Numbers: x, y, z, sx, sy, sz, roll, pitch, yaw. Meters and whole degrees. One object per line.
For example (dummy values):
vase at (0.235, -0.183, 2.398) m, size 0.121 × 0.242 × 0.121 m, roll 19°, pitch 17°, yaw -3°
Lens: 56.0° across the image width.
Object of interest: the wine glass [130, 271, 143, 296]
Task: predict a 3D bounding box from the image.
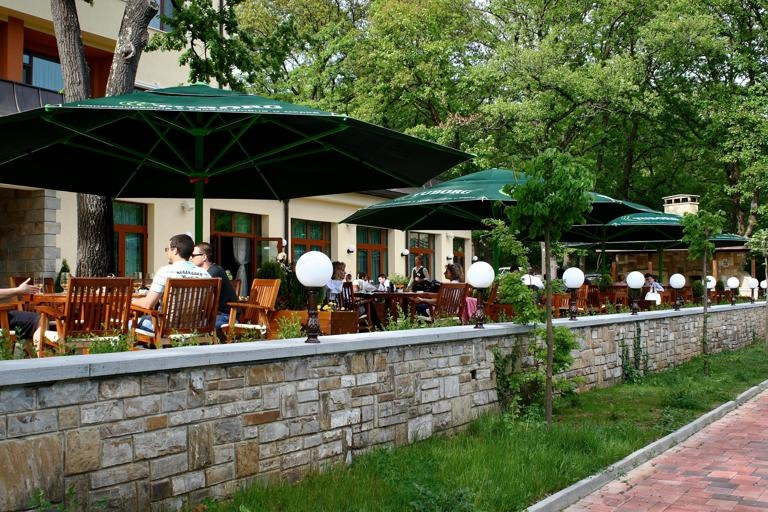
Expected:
wine glass at (-4.288, 0.477, 12.587) m, size 0.249 × 0.415 × 0.289 m, roll 0°, pitch -5°, yaw 10°
